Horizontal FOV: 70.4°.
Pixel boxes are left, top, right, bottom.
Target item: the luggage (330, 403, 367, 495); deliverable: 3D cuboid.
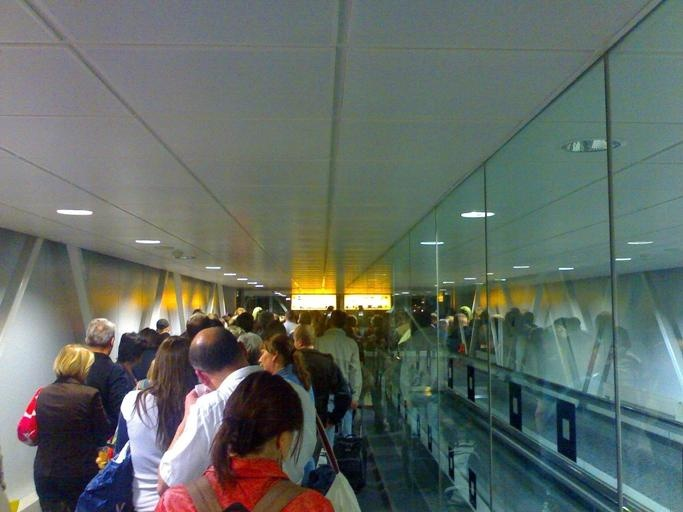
[{"bbox_3d":[0.111,2.631,6.728,0.520,0.996,0.660,-3,-2,-1],"label":"luggage"}]
